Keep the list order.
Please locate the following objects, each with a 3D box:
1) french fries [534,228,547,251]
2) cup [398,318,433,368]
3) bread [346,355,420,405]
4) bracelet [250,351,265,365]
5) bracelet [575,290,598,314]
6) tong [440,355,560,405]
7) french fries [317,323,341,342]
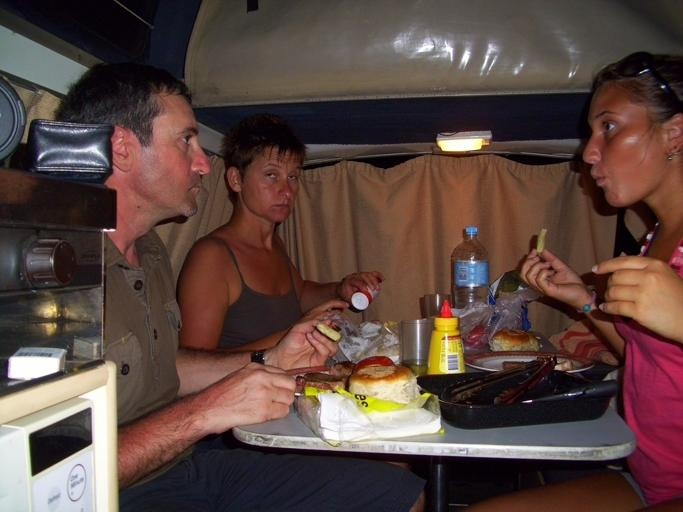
[{"bbox_3d":[1.107,-0.099,2.956,0.059,0.051,0.178,7,-32,16],"label":"french fries"},{"bbox_3d":[0.284,0.335,2.057,0.174,0.173,0.165,1,-2,0],"label":"cup"},{"bbox_3d":[0.139,0.391,1.666,0.263,0.094,0.273,3,2,12],"label":"bread"},{"bbox_3d":[-0.346,0.420,2.171,0.075,0.016,0.065,-3,42,4],"label":"bracelet"},{"bbox_3d":[1.063,0.211,2.307,0.089,0.111,0.047,20,-25,-22],"label":"bracelet"},{"bbox_3d":[0.488,0.400,1.644,0.287,0.038,0.153,-15,1,-34],"label":"tong"},{"bbox_3d":[-0.057,0.295,2.001,0.095,0.030,0.055,31,37,-8],"label":"french fries"}]
